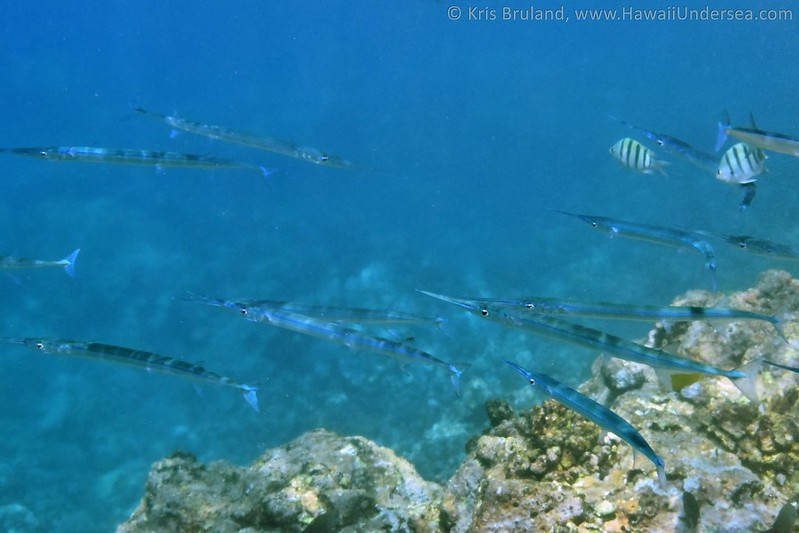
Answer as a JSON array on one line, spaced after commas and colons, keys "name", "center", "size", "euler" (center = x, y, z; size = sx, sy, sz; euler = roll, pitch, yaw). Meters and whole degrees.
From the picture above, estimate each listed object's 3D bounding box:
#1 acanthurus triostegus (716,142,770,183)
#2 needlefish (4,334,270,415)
[{"name": "acanthurus triostegus", "center": [6.045, -1.791, 14.235], "size": [0.838, 0.905, 0.684], "euler": [-9, 12, -40]}, {"name": "needlefish", "center": [-4.851, 1.845, 14.583], "size": [4.383, 1.555, 0.346], "euler": [-6, 14, 13]}]
